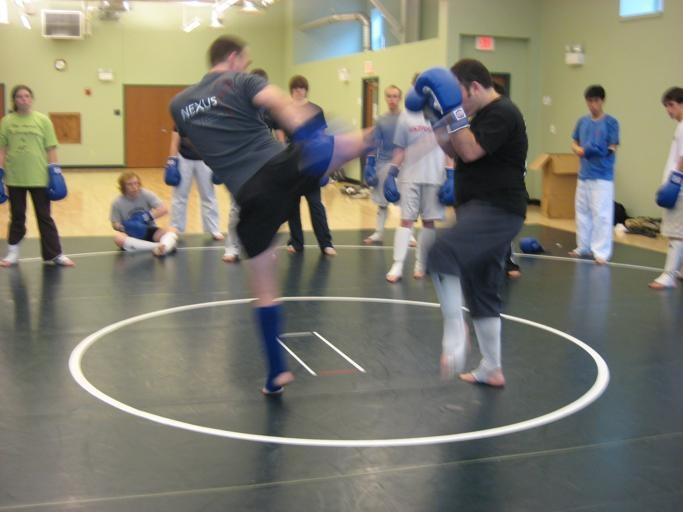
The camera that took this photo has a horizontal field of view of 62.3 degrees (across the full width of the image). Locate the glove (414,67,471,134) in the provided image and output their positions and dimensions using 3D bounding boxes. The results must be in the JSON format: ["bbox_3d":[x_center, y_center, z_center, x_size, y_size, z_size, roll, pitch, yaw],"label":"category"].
[{"bbox_3d":[0.529,-0.833,2.990,0.158,0.379,0.278,-24,20,-29],"label":"glove"}]

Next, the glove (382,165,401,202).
[{"bbox_3d":[0.489,-0.693,5.490,0.157,0.387,0.412,1,13,5],"label":"glove"}]

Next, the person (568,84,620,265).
[{"bbox_3d":[2.997,-0.972,6.596,0.480,1.957,0.906,-1,12,-7],"label":"person"}]

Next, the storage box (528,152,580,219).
[{"bbox_3d":[3.642,-1.230,9.805,0.934,1.014,1.010,-1,6,-5],"label":"storage box"}]

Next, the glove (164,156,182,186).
[{"bbox_3d":[-2.098,-1.033,6.905,0.116,0.244,0.333,-5,57,-6],"label":"glove"}]

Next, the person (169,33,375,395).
[{"bbox_3d":[-0.341,-0.261,3.040,1.112,1.956,0.783,-4,-1,20],"label":"person"}]

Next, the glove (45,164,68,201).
[{"bbox_3d":[-2.927,-0.733,5.816,0.211,0.354,0.136,-11,-5,-4],"label":"glove"}]

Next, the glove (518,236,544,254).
[{"bbox_3d":[2.339,-0.115,6.869,0.293,0.159,0.187,16,24,-9],"label":"glove"}]

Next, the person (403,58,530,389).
[{"bbox_3d":[0.744,-0.169,3.171,0.651,1.808,0.546,-5,13,-23],"label":"person"}]
